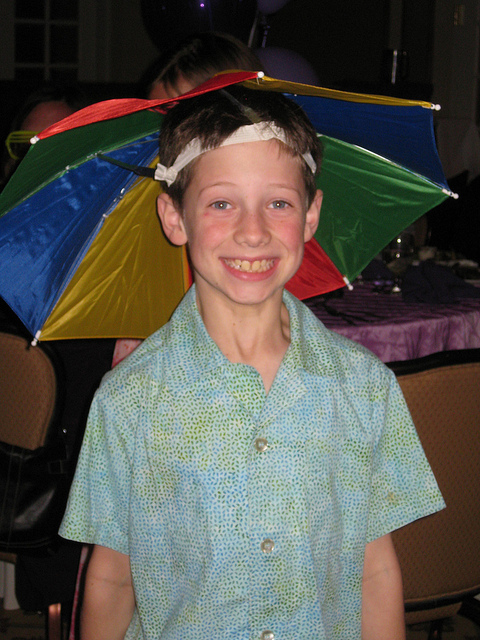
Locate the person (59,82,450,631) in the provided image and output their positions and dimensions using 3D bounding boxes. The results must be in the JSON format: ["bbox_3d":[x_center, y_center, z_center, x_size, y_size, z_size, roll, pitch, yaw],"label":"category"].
[{"bbox_3d":[0.016,0.045,0.824,0.387,0.717,0.369,7,9,40],"label":"person"}]
